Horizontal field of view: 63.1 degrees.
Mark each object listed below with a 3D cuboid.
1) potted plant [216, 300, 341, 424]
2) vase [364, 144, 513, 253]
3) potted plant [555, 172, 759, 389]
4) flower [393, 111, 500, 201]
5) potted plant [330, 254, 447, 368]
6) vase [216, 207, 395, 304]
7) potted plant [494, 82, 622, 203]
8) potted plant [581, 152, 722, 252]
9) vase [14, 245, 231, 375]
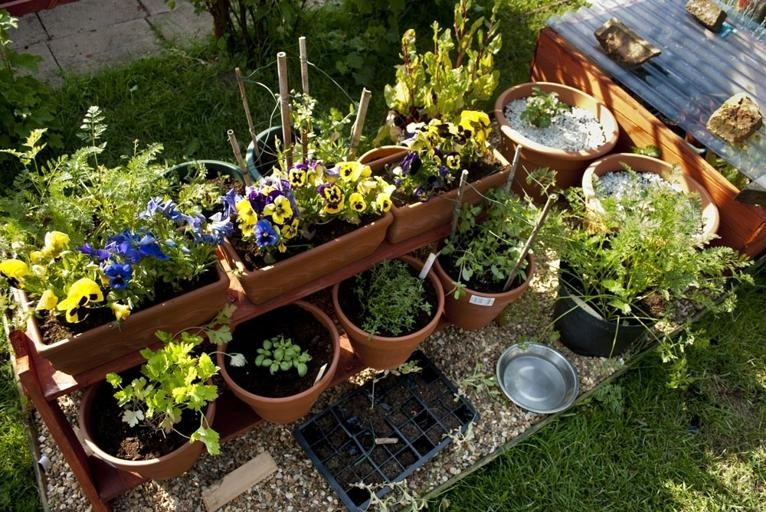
[{"bbox_3d":[-0.613,0.779,4.079,0.709,0.562,0.764,11,56,3],"label":"potted plant"},{"bbox_3d":[0.391,-0.387,4.239,0.883,0.335,0.605,-25,56,-19],"label":"vase"},{"bbox_3d":[1.770,0.073,4.273,1.155,0.932,0.976,-16,71,-15],"label":"potted plant"},{"bbox_3d":[0.406,-0.639,4.080,0.684,0.257,0.517,-25,93,15],"label":"flower"},{"bbox_3d":[-0.008,0.357,4.084,0.689,0.553,0.708,28,48,25],"label":"potted plant"},{"bbox_3d":[-0.407,0.036,3.752,0.799,0.279,0.581,-25,55,-13],"label":"vase"},{"bbox_3d":[1.373,-0.993,5.175,0.925,0.700,0.993,-7,51,-4],"label":"potted plant"},{"bbox_3d":[1.896,-0.530,4.683,0.793,0.308,0.801,-3,50,-6],"label":"potted plant"},{"bbox_3d":[-1.418,0.288,3.501,0.882,0.306,0.701,-30,54,-7],"label":"vase"}]
